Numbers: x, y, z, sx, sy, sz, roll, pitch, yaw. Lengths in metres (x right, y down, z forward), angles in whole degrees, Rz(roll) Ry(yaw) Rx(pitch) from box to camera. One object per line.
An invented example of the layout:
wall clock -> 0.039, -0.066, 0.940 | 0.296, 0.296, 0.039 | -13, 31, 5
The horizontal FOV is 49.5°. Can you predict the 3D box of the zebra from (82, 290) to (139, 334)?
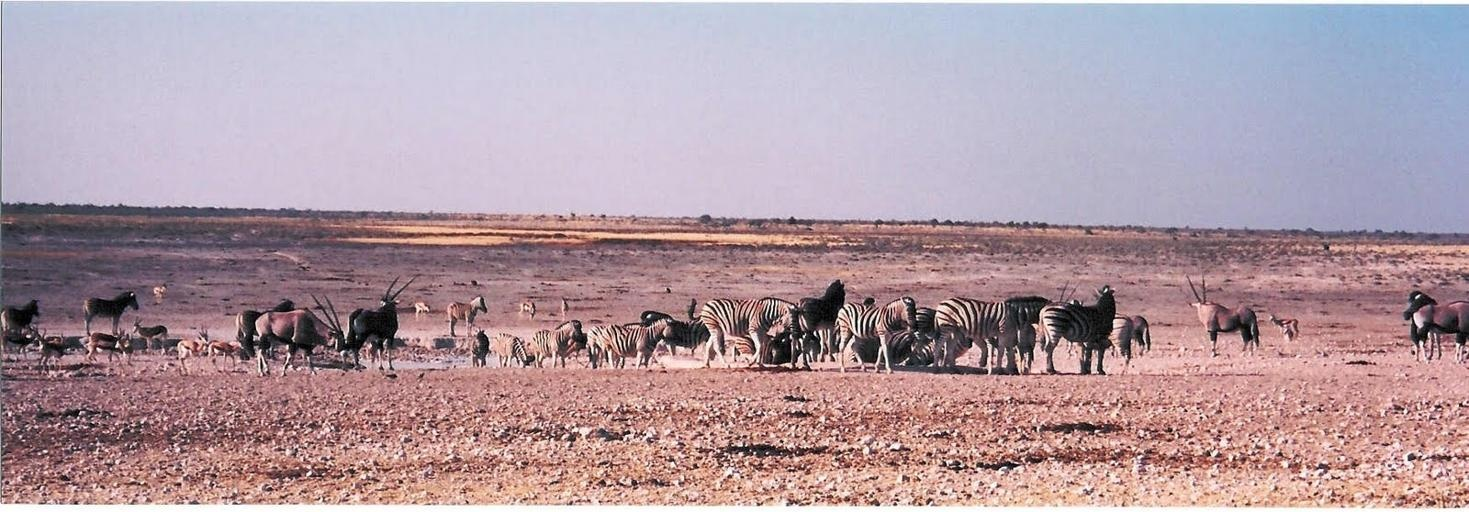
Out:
zebra -> -39.534, 3.727, 100.861 | 4.405, 2.153, 1.071 | 0, -2, -8
